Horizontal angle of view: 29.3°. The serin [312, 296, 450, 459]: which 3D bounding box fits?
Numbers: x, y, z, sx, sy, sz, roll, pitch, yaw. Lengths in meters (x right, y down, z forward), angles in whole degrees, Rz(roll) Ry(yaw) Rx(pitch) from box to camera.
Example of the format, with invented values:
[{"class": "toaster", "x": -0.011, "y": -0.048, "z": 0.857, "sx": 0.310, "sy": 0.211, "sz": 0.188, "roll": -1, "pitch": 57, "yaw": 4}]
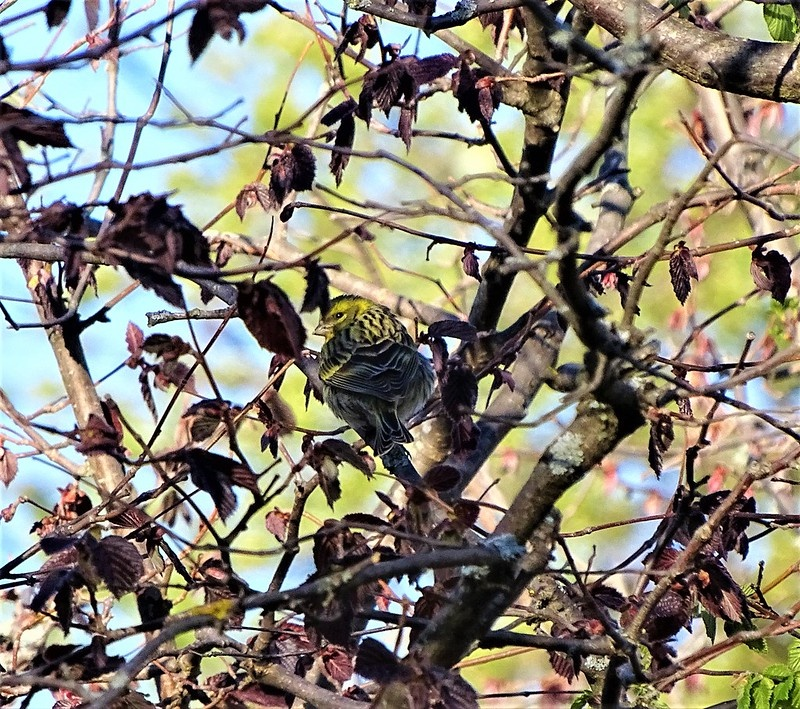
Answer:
[{"class": "serin", "x": -0.157, "y": 0.033, "z": 8.664, "sx": 0.491, "sy": 1.020, "sz": 0.678, "roll": -2, "pitch": -30, "yaw": 5}]
